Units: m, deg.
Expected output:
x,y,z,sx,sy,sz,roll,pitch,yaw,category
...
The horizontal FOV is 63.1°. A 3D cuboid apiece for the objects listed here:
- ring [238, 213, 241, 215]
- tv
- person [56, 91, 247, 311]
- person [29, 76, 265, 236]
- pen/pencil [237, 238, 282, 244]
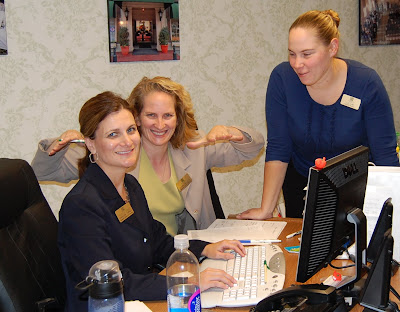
x,y,z,sx,sy,sz,roll,pitch,yaw,category
0.251,0.369,2.038,0.017,0.005,0.018,-3,20,1,ring
0.493,0.225,1.187,0.086,0.430,0.438,14,24,38,tv
-0.107,0.057,1.783,0.862,1.420,0.846,-2,15,11,person
-0.375,-0.034,2.050,0.844,1.219,0.430,-24,14,-33,person
0.297,0.424,1.607,0.191,0.024,0.022,-1,6,1,pen/pencil
